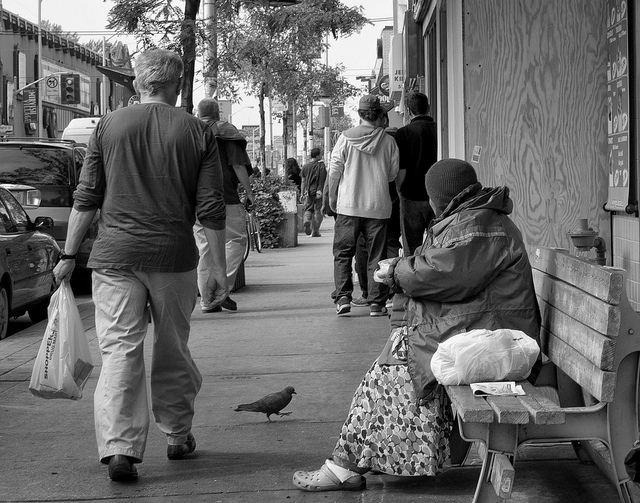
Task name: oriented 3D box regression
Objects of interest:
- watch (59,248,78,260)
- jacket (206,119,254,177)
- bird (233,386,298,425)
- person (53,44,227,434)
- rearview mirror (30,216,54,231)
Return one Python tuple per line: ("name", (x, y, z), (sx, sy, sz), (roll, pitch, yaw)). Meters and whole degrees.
("watch", (-1.538, 0.013, 4.589), (0.079, 0.053, 0.071), (8, 38, 9))
("jacket", (-1.091, -1.440, 9.328), (0.461, 0.993, 0.497), (-1, 7, -8))
("bird", (-0.369, 1.039, 5.133), (0.429, 0.320, 0.179), (6, -10, -18))
("person", (-1.005, -0.026, 4.582), (0.783, 2.445, 1.136), (-3, -5, 25))
("rearview mirror", (-3.600, -0.360, 9.771), (0.172, 0.216, 0.120), (0, 5, 5))
